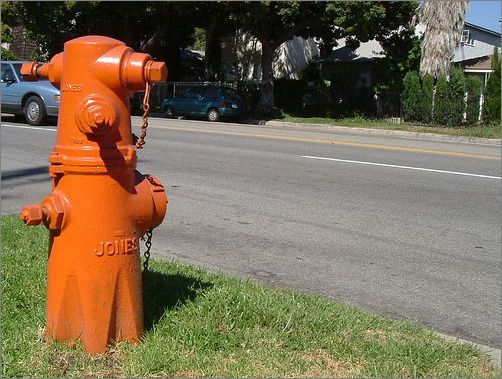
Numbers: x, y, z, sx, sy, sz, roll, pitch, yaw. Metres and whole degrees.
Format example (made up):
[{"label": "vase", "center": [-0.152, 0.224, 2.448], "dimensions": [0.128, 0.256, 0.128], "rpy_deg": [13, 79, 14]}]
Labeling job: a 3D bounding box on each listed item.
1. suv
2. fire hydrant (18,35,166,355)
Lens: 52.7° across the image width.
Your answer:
[{"label": "suv", "center": [-2.385, -4.438, 25.624], "dimensions": [3.924, 1.860, 0.947], "rpy_deg": [9, 6, 26]}, {"label": "fire hydrant", "center": [-1.069, 0.008, 3.570], "dimensions": [0.833, 2.175, 0.450], "rpy_deg": [5, 4, 4]}]
